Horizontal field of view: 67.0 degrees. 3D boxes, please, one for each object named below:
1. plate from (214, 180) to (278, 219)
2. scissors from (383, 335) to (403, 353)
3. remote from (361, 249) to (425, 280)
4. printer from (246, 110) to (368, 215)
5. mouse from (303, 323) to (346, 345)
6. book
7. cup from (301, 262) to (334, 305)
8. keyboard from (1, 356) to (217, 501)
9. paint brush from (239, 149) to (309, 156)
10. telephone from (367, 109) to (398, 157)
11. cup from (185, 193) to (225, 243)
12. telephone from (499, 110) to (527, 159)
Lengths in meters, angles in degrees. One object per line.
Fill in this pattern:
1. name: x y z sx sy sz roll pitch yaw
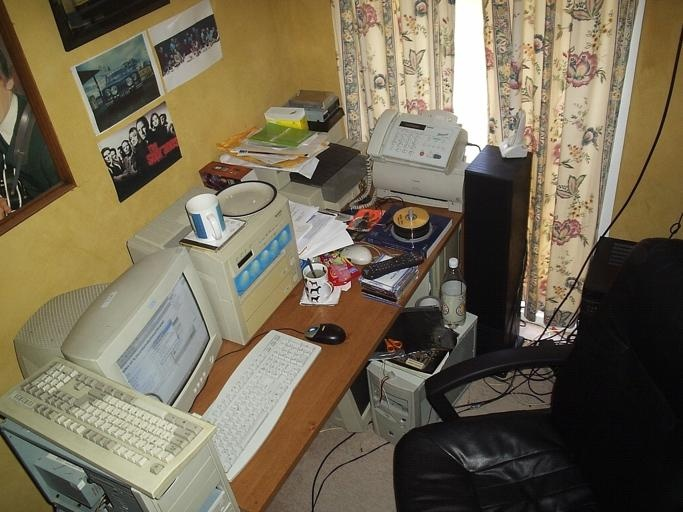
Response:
1. plate: -0.364 -0.222 1.998 0.167 0.025 0.177 6 46 13
2. scissors: 0.221 0.378 2.218 0.047 0.017 0.069 -15 36 -9
3. remote: 0.207 0.028 2.097 0.249 0.035 0.103 -18 38 -13
4. printer: -0.078 -0.397 2.394 0.348 0.156 0.426 23 57 16
5. mouse: -0.061 0.284 1.909 0.121 0.042 0.075 7 38 9
6. book: -0.330 -0.497 2.398 0.309 0.080 0.326 10 33 12
7. cup: -0.093 0.089 2.117 0.101 0.142 0.164 -14 36 -16
8. keyboard: -0.602 0.429 1.340 0.567 0.083 0.232 25 57 19
9. paint brush: -0.290 -0.474 2.376 0.194 0.016 0.031 4 66 12
10. telephone: 0.189 -0.558 2.358 0.092 0.170 0.190 13 37 23
11. cup: -0.479 -0.139 1.843 0.141 0.128 0.111 26 43 36
12. telephone: 0.744 -0.529 2.231 0.097 0.182 0.159 9 45 14
